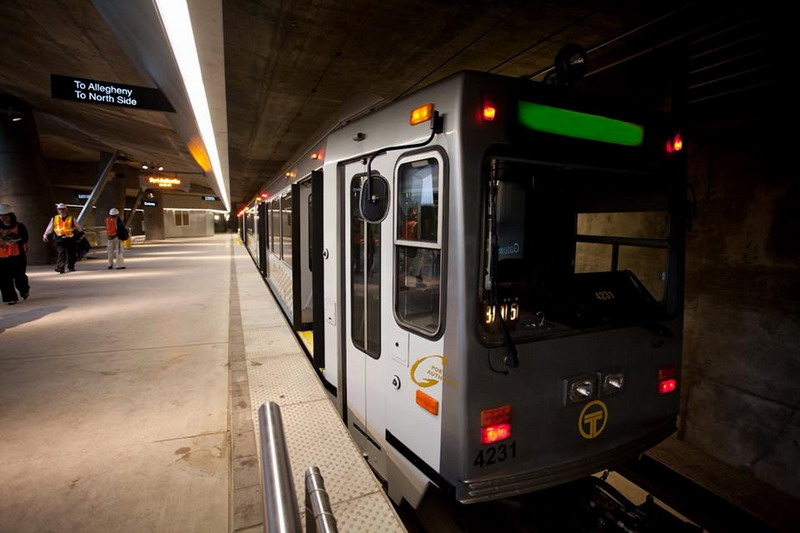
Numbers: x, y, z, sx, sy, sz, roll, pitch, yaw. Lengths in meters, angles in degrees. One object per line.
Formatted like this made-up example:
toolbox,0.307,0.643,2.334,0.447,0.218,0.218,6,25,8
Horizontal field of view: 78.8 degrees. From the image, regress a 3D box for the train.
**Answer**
train,1.004,0.310,4.752,3.362,4.086,1.494,1,5,14
